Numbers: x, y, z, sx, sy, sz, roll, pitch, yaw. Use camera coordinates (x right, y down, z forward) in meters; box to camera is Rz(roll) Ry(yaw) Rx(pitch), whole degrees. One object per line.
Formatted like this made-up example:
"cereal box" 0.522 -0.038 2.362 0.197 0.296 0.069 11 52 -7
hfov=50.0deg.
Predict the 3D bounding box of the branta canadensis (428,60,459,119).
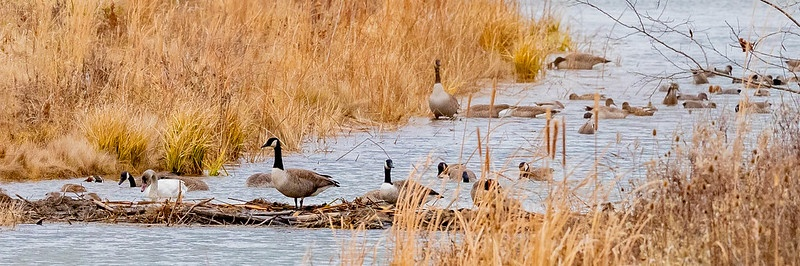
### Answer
"branta canadensis" 1.765 -1.783 35.778 1.141 2.532 0.889 13 31 21
